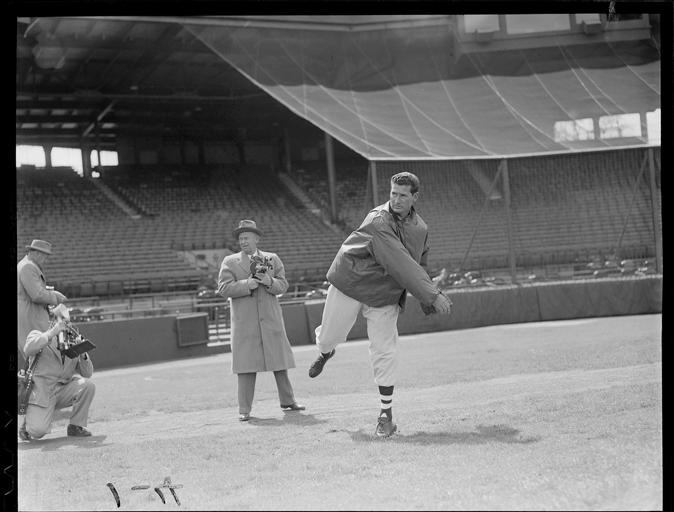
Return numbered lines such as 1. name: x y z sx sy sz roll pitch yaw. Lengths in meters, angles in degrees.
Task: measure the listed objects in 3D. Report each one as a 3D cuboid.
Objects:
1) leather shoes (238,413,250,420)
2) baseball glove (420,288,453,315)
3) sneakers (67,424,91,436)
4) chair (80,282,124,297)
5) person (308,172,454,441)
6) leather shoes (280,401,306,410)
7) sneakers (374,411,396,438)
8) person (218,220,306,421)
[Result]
1. leather shoes: -1.025 1.828 9.752 0.113 0.082 0.077 -1 11 3
2. baseball glove: 1.062 0.504 9.141 0.279 0.283 0.348 1 12 12
3. sneakers: -2.824 1.960 9.636 0.253 0.181 0.123 1 -2 -4
4. chair: -4.478 0.652 16.699 0.847 0.261 0.258 1 -5 -7
5. person: 0.462 0.627 9.275 1.282 2.530 0.747 -3 12 -8
6. leather shoes: -0.483 1.741 9.959 0.254 0.106 0.109 -2 -4 -2
7. sneakers: 0.524 1.812 9.174 0.183 0.294 0.295 0 -14 0
8. person: -0.877 0.747 9.822 0.863 2.260 0.597 -3 12 -8
